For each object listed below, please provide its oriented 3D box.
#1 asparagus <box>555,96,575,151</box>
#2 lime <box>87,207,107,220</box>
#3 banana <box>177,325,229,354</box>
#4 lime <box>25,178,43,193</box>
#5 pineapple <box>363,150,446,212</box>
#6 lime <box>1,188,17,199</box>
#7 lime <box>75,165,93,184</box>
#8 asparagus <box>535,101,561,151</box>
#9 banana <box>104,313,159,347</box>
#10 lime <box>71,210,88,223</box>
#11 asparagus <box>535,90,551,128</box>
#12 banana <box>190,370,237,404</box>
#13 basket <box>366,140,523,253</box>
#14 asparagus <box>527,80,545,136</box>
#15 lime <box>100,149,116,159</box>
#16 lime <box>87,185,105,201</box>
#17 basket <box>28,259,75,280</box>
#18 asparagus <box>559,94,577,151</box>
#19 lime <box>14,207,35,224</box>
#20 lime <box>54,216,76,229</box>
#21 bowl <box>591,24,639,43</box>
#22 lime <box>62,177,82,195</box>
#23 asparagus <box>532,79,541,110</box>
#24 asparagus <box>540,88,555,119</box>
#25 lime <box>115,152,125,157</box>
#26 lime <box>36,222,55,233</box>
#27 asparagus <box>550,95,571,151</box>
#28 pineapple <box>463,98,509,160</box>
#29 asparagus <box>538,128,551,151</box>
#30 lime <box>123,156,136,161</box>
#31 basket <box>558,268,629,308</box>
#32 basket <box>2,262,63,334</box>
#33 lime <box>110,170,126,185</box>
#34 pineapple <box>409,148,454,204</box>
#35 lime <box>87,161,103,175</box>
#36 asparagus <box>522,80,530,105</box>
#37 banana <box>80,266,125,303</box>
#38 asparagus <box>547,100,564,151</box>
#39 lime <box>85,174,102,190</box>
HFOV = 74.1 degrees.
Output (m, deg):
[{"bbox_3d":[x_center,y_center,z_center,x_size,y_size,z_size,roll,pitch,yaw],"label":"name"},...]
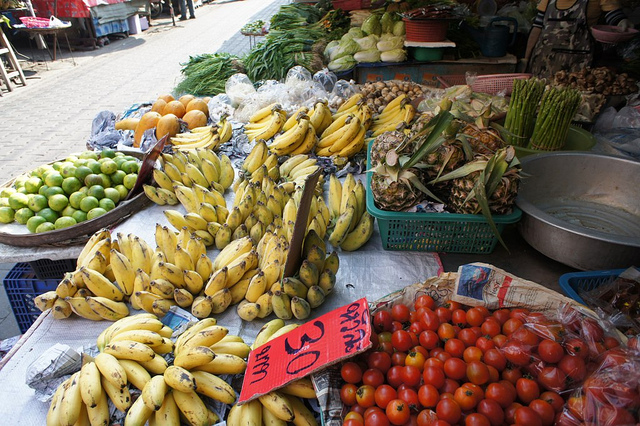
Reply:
[{"bbox_3d":[2.544,-0.933,4.402,0.064,0.579,0.077,-17,30,-42],"label":"asparagus"},{"bbox_3d":[-2.273,-0.004,4.307,0.133,0.134,0.143,19,55,-17],"label":"lime"},{"bbox_3d":[-0.913,0.969,3.230,0.487,0.169,0.137,-11,-7,14],"label":"banana"},{"bbox_3d":[-3.028,-0.306,4.509,0.145,0.147,0.148,5,8,-9],"label":"lime"},{"bbox_3d":[0.704,-0.172,3.898,0.536,0.547,0.547,-4,60,12],"label":"pineapple"},{"bbox_3d":[-3.270,-0.226,4.452,0.113,0.140,0.116,16,17,28],"label":"lime"},{"bbox_3d":[-2.522,-0.403,4.545,0.162,0.199,0.170,6,-6,18],"label":"lime"},{"bbox_3d":[2.393,-0.905,4.463,0.047,0.444,0.070,16,19,-16],"label":"asparagus"},{"bbox_3d":[-1.486,0.890,3.339,0.343,0.192,0.095,-17,-10,-5],"label":"banana"},{"bbox_3d":[-2.464,0.031,4.329,0.129,0.154,0.127,12,-28,-30],"label":"lime"},{"bbox_3d":[2.348,-1.103,4.481,0.041,0.397,0.057,20,1,-11],"label":"asparagus"},{"bbox_3d":[-0.768,1.256,3.057,0.355,0.180,0.135,8,37,14],"label":"banana"},{"bbox_3d":[1.062,-0.211,4.318,1.291,0.748,0.908,4,44,-2],"label":"basket"},{"bbox_3d":[2.329,-1.147,4.548,0.072,0.547,0.060,5,2,19],"label":"asparagus"},{"bbox_3d":[-2.423,-0.680,4.837,0.115,0.140,0.119,10,35,-19],"label":"lime"},{"bbox_3d":[-2.335,-0.205,4.420,0.162,0.158,0.152,1,-3,-23],"label":"lime"},{"bbox_3d":[-2.718,0.569,4.326,0.391,0.247,0.286,0,32,-2],"label":"basket"},{"bbox_3d":[2.582,-0.959,4.402,0.048,0.472,0.052,-4,18,-39],"label":"asparagus"},{"bbox_3d":[-3.026,0.028,4.386,0.176,0.142,0.136,0,-18,18],"label":"lime"},{"bbox_3d":[-2.564,0.085,4.277,0.160,0.128,0.127,-3,12,-6],"label":"lime"},{"bbox_3d":[4.046,-2.481,5.830,0.414,0.131,0.424,-3,29,2],"label":"bowl"},{"bbox_3d":[-2.604,-0.283,4.465,0.170,0.166,0.167,15,-9,-26],"label":"lime"},{"bbox_3d":[2.298,-1.274,4.500,0.039,0.280,0.040,7,-2,-43],"label":"asparagus"},{"bbox_3d":[2.383,-1.155,4.425,0.052,0.251,0.124,19,41,29],"label":"asparagus"},{"bbox_3d":[-2.347,-0.690,4.945,0.068,0.045,0.082,2,8,-7],"label":"lime"},{"bbox_3d":[-2.719,0.160,4.182,0.128,0.111,0.107,-20,62,-13],"label":"lime"},{"bbox_3d":[2.487,-0.928,4.374,0.076,0.470,0.051,25,28,38],"label":"asparagus"},{"bbox_3d":[1.527,-0.661,4.066,0.418,0.537,0.440,20,-12,-15],"label":"pineapple"},{"bbox_3d":[2.397,-0.774,4.510,0.021,0.204,0.031,23,10,11],"label":"asparagus"},{"bbox_3d":[-2.205,-0.637,4.887,0.090,0.051,0.074,10,13,28],"label":"lime"},{"bbox_3d":[2.158,0.567,3.371,0.420,0.139,0.300,-10,36,4],"label":"basket"},{"bbox_3d":[-3.050,0.905,4.548,0.727,0.465,0.744,16,21,35],"label":"basket"},{"bbox_3d":[-2.228,-0.397,4.650,0.143,0.173,0.142,18,-10,-19],"label":"lime"},{"bbox_3d":[1.055,-0.384,4.083,0.385,0.494,0.368,1,24,7],"label":"pineapple"},{"bbox_3d":[-2.425,-0.487,4.609,0.130,0.161,0.133,0,1,16],"label":"lime"},{"bbox_3d":[2.181,-1.292,4.505,0.034,0.244,0.035,11,11,-8],"label":"asparagus"},{"bbox_3d":[-1.845,0.604,3.523,0.117,0.426,0.141,-20,45,20],"label":"banana"},{"bbox_3d":[2.464,-0.912,4.416,0.062,0.397,0.042,12,26,-5],"label":"asparagus"},{"bbox_3d":[-2.395,-0.335,4.462,0.138,0.178,0.152,5,3,36],"label":"lime"}]
